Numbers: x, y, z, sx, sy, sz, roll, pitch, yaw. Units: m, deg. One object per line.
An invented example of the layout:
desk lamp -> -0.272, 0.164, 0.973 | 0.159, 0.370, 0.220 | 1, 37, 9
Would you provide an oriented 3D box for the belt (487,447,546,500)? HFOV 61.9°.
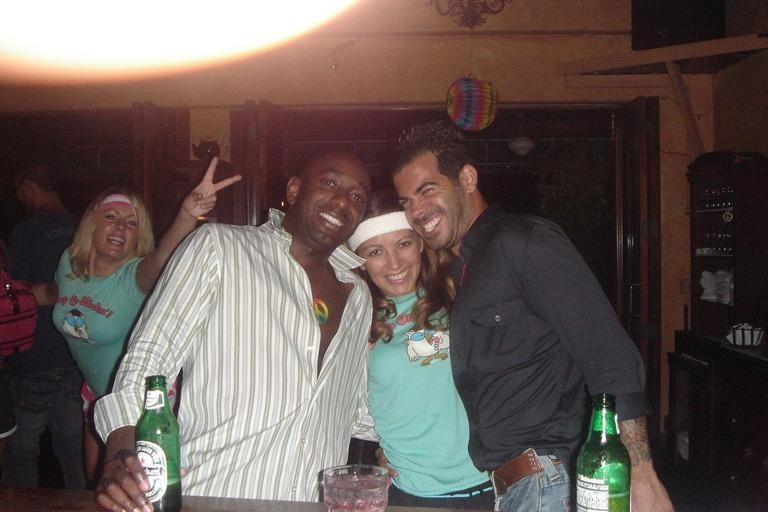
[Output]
belt -> 0.817, 1.327, 3.953 | 0.318, 0.114, 0.241 | -33, -18, 15
